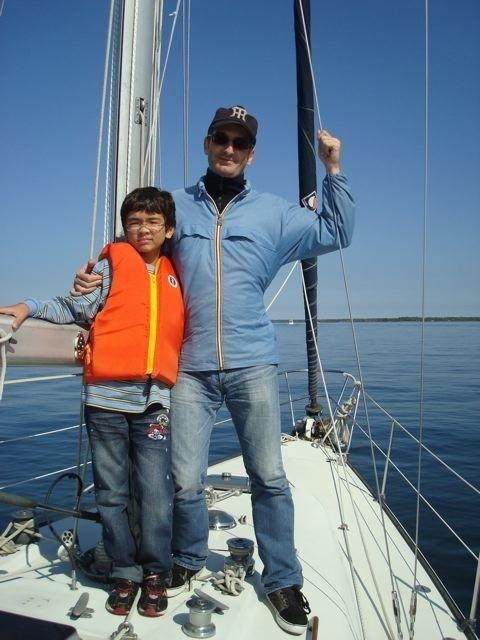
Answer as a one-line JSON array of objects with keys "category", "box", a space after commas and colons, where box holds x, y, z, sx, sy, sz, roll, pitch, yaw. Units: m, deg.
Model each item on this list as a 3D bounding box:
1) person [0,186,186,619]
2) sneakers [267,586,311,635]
[{"category": "person", "box": [-0.426, 0.223, 1.829, 0.528, 1.374, 0.379, 7, -2, -5]}, {"category": "sneakers", "box": [0.171, 0.944, 1.723, 0.106, 0.101, 0.173, 8, -2, -18]}]
